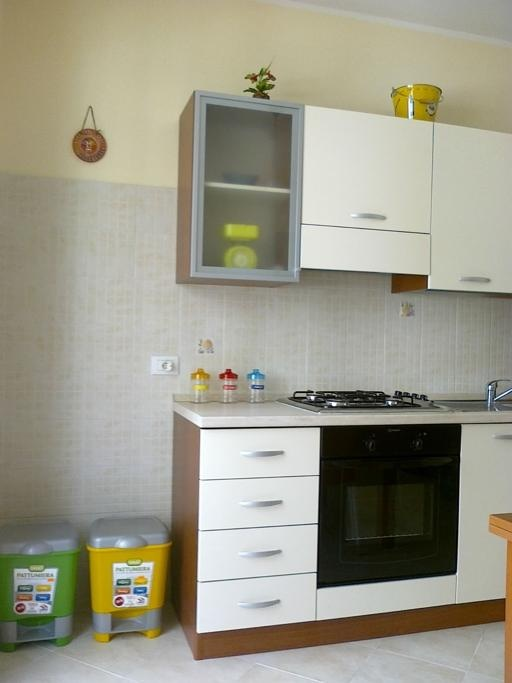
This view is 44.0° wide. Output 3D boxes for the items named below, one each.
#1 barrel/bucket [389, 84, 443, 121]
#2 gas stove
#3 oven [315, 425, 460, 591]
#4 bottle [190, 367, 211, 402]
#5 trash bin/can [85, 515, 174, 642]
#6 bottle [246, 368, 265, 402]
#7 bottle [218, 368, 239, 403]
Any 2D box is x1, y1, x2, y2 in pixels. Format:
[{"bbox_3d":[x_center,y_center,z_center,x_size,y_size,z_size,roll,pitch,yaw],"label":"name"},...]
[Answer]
[{"bbox_3d":[0.675,-0.995,2.680,0.177,0.125,0.208,12,24,32],"label":"barrel/bucket"},{"bbox_3d":[0.424,0.236,2.559,0.635,0.046,0.469,0,1,-21],"label":"gas stove"},{"bbox_3d":[0.448,0.587,2.470,0.554,0.556,0.413,0,3,-14],"label":"oven"},{"bbox_3d":[-0.227,0.180,2.600,0.076,0.139,0.151,0,1,-5],"label":"bottle"},{"bbox_3d":[-0.471,0.873,2.333,0.283,0.392,0.283,0,1,-14],"label":"trash bin/can"},{"bbox_3d":[0.002,0.183,2.665,0.070,0.136,0.182,0,1,0],"label":"bottle"},{"bbox_3d":[-0.113,0.182,2.631,0.077,0.135,0.163,0,1,-3],"label":"bottle"}]
